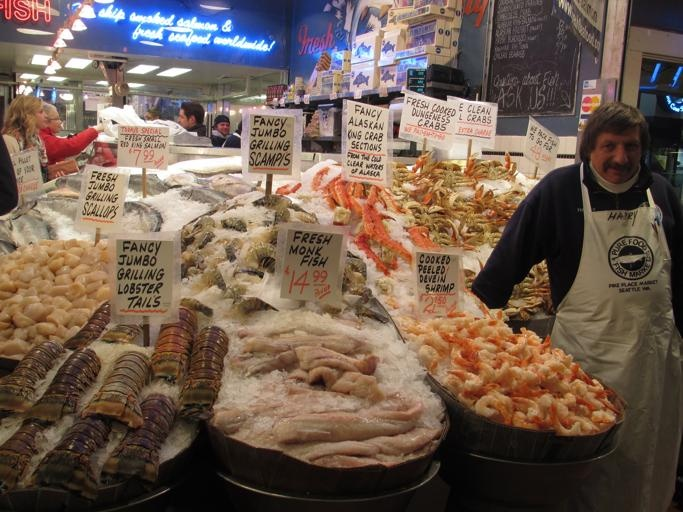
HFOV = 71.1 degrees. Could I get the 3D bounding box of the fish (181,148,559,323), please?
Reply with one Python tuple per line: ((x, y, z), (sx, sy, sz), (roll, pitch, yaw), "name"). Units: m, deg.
((0.534, -0.272, 2.865), (1.183, 0.290, 1.247), (-4, 16, -24), "fish")
